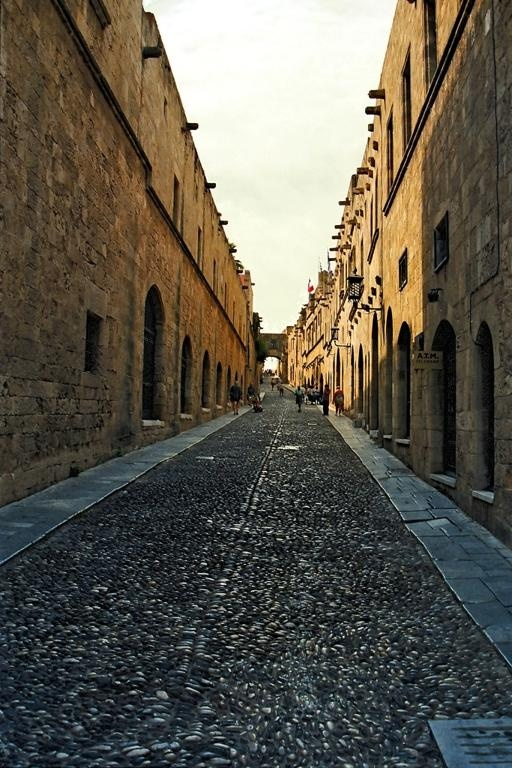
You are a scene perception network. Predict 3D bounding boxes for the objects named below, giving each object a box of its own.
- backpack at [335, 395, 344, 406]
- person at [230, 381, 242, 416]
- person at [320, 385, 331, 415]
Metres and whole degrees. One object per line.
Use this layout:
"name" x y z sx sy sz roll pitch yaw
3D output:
"backpack" 4.018 0.806 25.131 0.253 0.500 0.226 10 29 23
"person" -0.982 0.768 25.154 0.390 1.544 1.940 1 -1 -3
"person" 3.456 0.845 25.687 0.307 1.494 1.218 0 -1 10
